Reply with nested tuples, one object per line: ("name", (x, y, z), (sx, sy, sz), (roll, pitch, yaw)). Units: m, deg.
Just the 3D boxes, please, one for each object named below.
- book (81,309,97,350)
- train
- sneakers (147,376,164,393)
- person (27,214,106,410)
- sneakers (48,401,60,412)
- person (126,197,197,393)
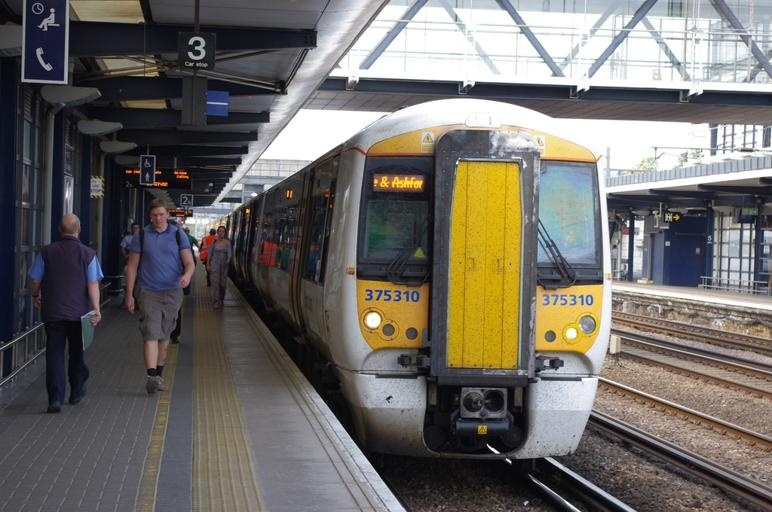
("book", (-3.494, 0.878, 7.486), (0.143, 0.444, 0.352), (1, 3, -25))
("train", (0.653, 0.328, 7.882), (4.011, 4.416, 1.728), (3, 3, 19))
("sneakers", (-2.977, 1.674, 8.224), (0.127, 0.136, 0.284), (3, -42, -9))
("person", (-3.780, 0.675, 7.580), (0.807, 2.287, 0.525), (2, 3, -8))
("sneakers", (-3.877, 1.769, 7.452), (0.135, 0.121, 0.113), (1, 3, -25))
("person", (-2.895, 0.547, 8.149), (0.802, 2.484, 0.552), (1, 3, -19))
